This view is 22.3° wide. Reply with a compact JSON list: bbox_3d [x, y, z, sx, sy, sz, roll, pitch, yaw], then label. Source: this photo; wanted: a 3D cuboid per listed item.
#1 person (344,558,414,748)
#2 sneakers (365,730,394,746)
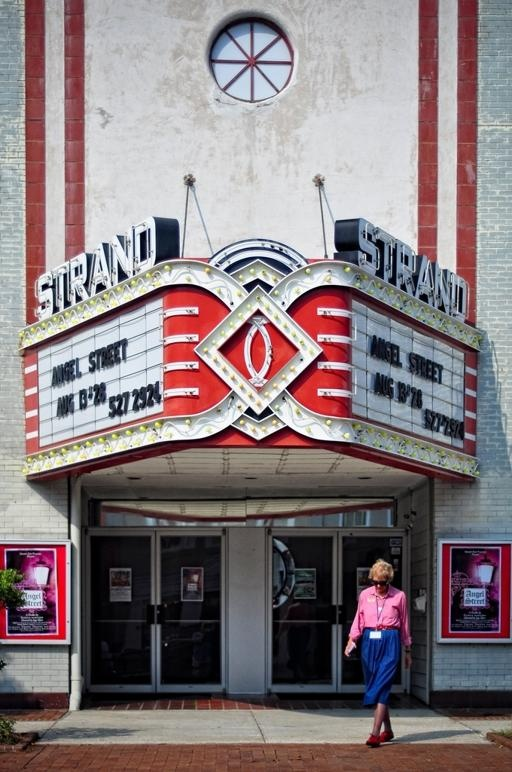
[{"bbox_3d":[1.258,2.712,13.336,0.652,1.879,0.589,-1,-10,4],"label":"person"},{"bbox_3d":[1.252,3.558,13.188,0.120,0.157,0.376,-7,-15,32],"label":"sneakers"}]
